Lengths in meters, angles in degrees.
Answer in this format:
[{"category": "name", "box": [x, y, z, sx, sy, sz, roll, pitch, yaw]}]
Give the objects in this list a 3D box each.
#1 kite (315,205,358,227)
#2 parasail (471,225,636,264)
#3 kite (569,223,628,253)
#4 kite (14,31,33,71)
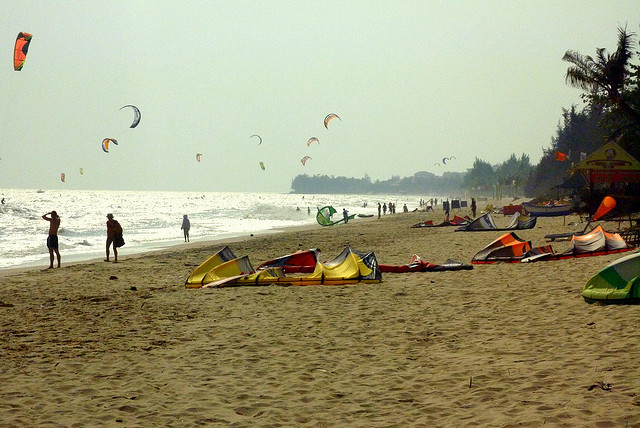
[{"category": "kite", "box": [1.394, 0.112, 53.543, 2.332, 1.312, 2.112, -9, -3, 37]}, {"category": "parasail", "box": [6.207, 0.964, 19.113, 2.997, 0.644, 1.665, -10, -3, 17]}, {"category": "kite", "box": [7.470, 0.662, 18.816, 1.330, 0.586, 0.993, 1, 10, 23]}, {"category": "kite", "box": [-7.894, -4.341, 18.725, 0.474, 0.979, 0.993, -6, 9, -23]}]
